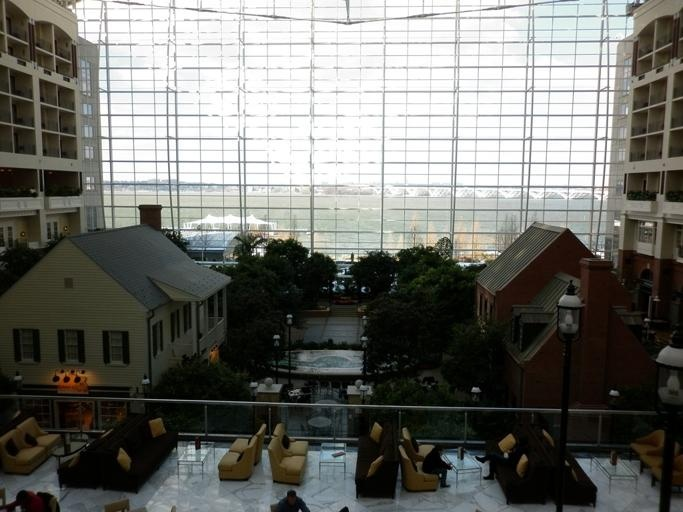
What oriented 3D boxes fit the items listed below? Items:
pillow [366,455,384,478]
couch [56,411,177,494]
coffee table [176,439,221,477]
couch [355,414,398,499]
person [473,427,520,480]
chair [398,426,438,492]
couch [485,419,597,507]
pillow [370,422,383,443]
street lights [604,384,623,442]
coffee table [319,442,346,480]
[{"bbox_3d":[1.237,7.882,26.507,0.625,0.872,0.288,2,3,3],"label":"pillow"},{"bbox_3d":[-8.480,7.683,27.247,2.475,1.470,3.451,2,8,6],"label":"couch"},{"bbox_3d":[-5.724,7.609,27.813,1.000,0.900,1.853,0,7,-3],"label":"coffee table"},{"bbox_3d":[1.355,7.879,28.002,1.604,1.362,4.024,-1,8,4],"label":"couch"},{"bbox_3d":[6.024,7.722,27.468,1.423,2.167,0.785,22,10,16],"label":"person"},{"bbox_3d":[3.107,7.701,27.471,1.795,1.867,2.325,-2,11,-2],"label":"chair"},{"bbox_3d":[7.592,8.089,26.764,2.597,1.344,3.189,-1,6,4],"label":"couch"},{"bbox_3d":[1.386,7.067,28.163,0.263,0.499,0.734,10,2,-8],"label":"pillow"},{"bbox_3d":[10.888,6.478,28.536,0.496,2.172,0.501,5,-13,23],"label":"street lights"},{"bbox_3d":[-0.376,8.016,27.692,1.017,0.709,1.481,-1,15,0],"label":"coffee table"}]
